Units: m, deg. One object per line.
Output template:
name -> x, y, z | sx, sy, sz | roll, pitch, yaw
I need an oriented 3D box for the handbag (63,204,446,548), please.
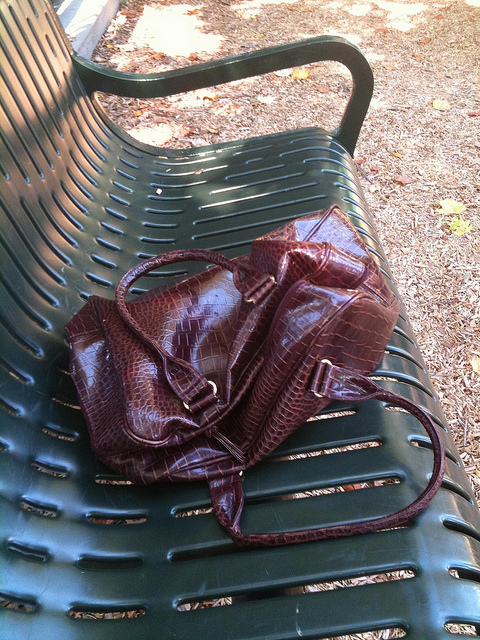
handbag -> 0.042, 0.030, 0.914 | 0.642, 0.215, 0.517 | -1, 58, 18
